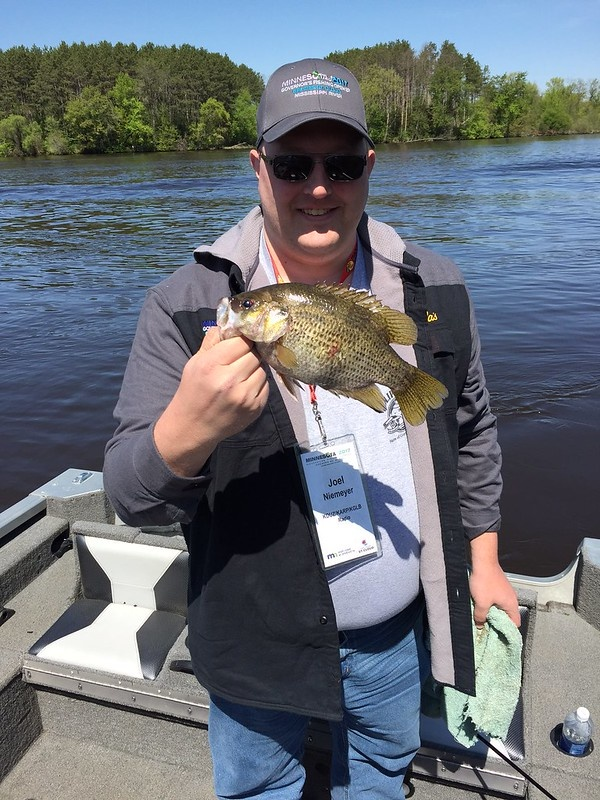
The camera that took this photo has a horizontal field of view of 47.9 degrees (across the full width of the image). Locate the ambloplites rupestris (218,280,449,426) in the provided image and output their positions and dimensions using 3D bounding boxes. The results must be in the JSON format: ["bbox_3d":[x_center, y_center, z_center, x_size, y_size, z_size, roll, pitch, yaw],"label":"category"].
[{"bbox_3d":[0.107,-0.111,1.933,0.724,0.434,0.164,-8,17,-32],"label":"ambloplites rupestris"}]

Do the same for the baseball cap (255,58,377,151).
[{"bbox_3d":[0.065,-0.969,2.205,0.371,0.275,0.247,-1,14,-7],"label":"baseball cap"}]

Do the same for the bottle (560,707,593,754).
[{"bbox_3d":[1.329,1.587,3.233,0.103,0.251,0.100,-8,52,10],"label":"bottle"}]

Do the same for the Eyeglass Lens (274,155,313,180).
[{"bbox_3d":[-0.019,-0.730,2.141,0.090,0.038,0.108,-2,5,-5],"label":"Eyeglass Lens"}]

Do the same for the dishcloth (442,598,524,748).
[{"bbox_3d":[0.761,1.067,2.630,0.181,0.497,0.380,5,-6,-38],"label":"dishcloth"}]
